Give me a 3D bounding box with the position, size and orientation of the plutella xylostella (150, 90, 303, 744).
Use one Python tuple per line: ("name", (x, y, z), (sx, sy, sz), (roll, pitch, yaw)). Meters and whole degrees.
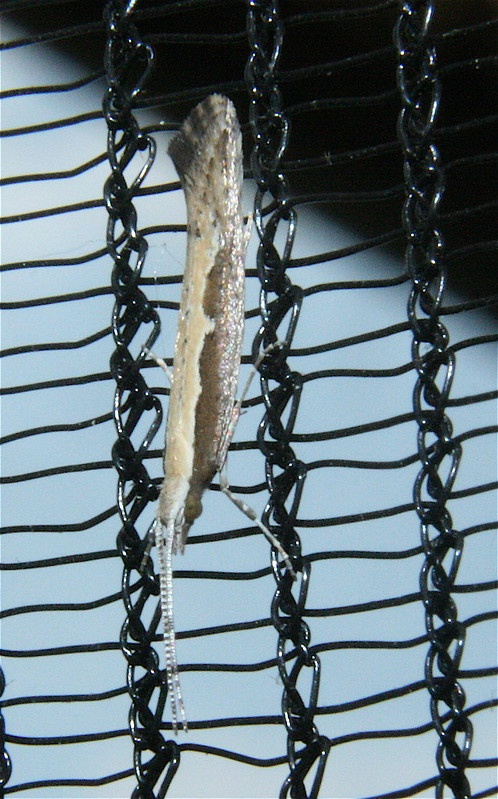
("plutella xylostella", (-0.039, 0.032, 2.590), (0.132, 0.237, 0.863), (5, -92, -38))
